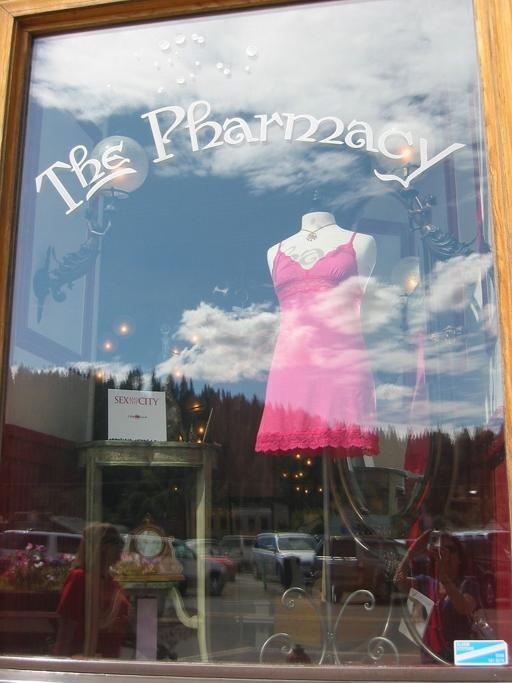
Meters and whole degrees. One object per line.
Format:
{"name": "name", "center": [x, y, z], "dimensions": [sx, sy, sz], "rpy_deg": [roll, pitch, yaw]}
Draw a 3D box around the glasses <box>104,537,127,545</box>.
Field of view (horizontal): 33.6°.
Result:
{"name": "glasses", "center": [-0.344, 0.483, 2.061], "dimensions": [0.051, 0.020, 0.015], "rpy_deg": [6, -15, 7]}
